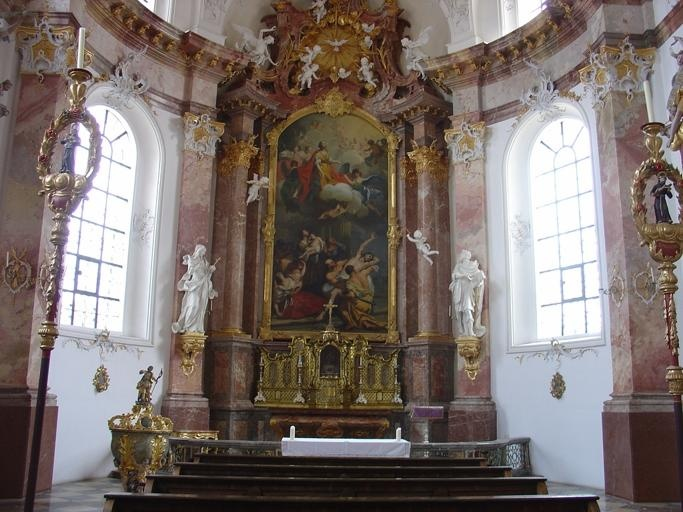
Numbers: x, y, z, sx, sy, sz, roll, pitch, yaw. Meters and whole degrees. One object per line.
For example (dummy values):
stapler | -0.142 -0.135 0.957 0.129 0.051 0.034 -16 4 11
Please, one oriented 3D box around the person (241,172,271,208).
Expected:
person | -1.963 -1.480 15.825 0.633 0.876 0.281 10 -19 -25

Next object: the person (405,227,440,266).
person | 1.828 -0.211 15.714 0.535 0.837 0.324 -43 -11 15

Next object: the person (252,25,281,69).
person | -1.779 -4.978 16.437 0.456 1.315 0.892 1 -14 -1

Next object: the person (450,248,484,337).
person | 2.689 0.813 14.806 0.747 1.851 0.323 -2 -14 10

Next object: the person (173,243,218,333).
person | -3.067 0.699 14.605 0.814 1.928 0.369 5 -14 -17

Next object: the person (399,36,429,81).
person | 1.728 -4.621 16.362 0.519 1.221 0.948 0 -14 -12

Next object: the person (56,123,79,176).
person | -3.563 -1.399 9.168 0.215 0.931 0.666 6 -15 -23
